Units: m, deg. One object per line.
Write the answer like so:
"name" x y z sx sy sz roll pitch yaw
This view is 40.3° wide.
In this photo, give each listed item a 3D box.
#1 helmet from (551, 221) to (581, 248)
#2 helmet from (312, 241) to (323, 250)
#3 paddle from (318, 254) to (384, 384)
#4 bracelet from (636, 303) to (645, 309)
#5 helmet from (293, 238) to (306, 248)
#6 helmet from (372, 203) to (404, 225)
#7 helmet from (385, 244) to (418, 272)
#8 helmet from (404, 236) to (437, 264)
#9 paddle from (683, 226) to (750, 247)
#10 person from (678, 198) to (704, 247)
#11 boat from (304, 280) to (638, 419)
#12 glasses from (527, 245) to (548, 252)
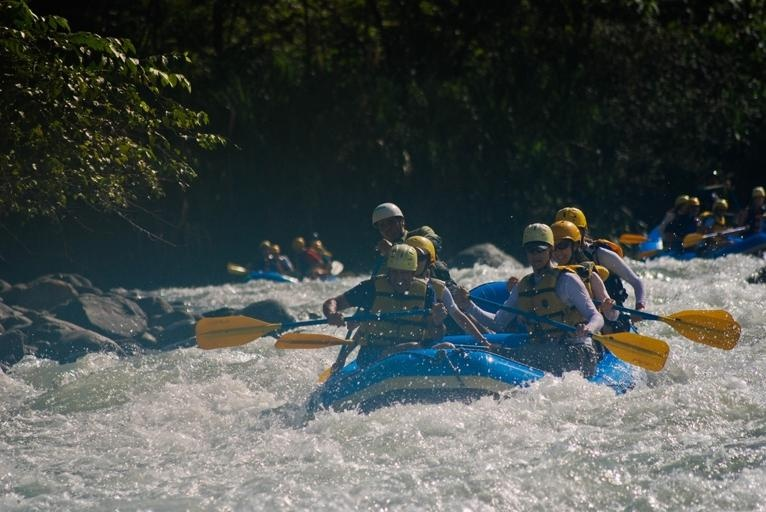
"helmet" 3.281 -0.394 18.694 0.467 0.405 0.380 -8 8 -7
"helmet" -1.978 -0.317 31.233 0.325 0.345 0.295 3 3 -1
"paddle" -0.675 1.272 20.404 0.400 2.859 0.209 31 4 33
"bracelet" 4.672 0.910 18.960 0.111 0.090 0.117 -1 2 -12
"helmet" -2.454 -0.334 30.214 0.360 0.309 0.421 -3 1 2
"helmet" 0.084 -0.822 19.611 0.455 0.283 0.442 -20 -4 -35
"helmet" 0.313 0.039 18.185 0.384 0.506 0.521 8 18 4
"helmet" 0.674 -0.136 18.890 0.502 0.427 0.527 2 -15 -1
"paddle" 8.163 -0.460 25.607 1.725 0.410 0.679 -9 14 -13
"person" 7.532 -0.792 25.822 0.554 1.190 0.273 -2 -12 36
"boat" 1.549 1.578 19.020 5.737 1.394 3.020 -5 13 3
"glasses" 2.714 -0.135 18.274 0.328 0.115 0.044 -4 14 5
